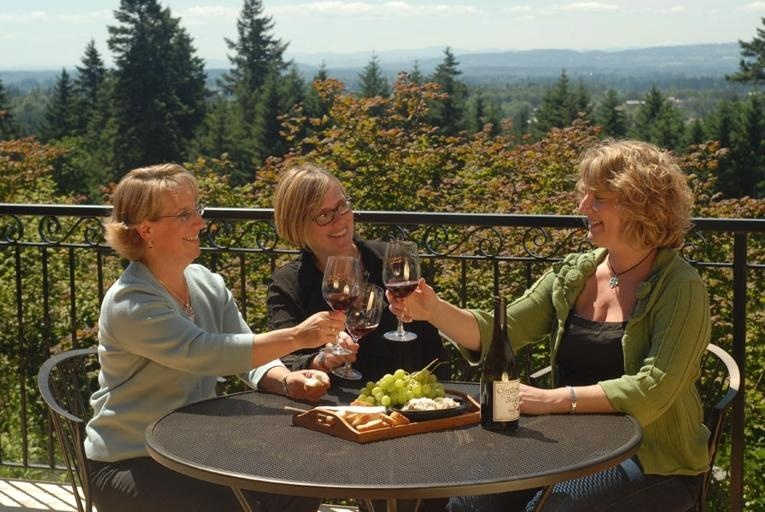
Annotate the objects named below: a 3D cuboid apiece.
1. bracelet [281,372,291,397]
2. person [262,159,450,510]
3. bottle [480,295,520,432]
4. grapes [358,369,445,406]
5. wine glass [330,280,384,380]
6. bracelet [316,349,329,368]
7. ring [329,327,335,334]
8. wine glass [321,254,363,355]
[{"bbox_3d":[-0.537,0.741,5.331,0.035,0.102,0.073,0,4,-1],"label":"bracelet"},{"bbox_3d":[-0.145,0.381,5.945,1.009,2.161,0.956,2,4,33],"label":"person"},{"bbox_3d":[0.608,0.565,4.987,0.144,0.694,0.209,0,1,-15],"label":"bottle"},{"bbox_3d":[0.101,0.723,5.191,0.472,0.241,0.198,-3,-19,-4],"label":"grapes"},{"bbox_3d":[-0.152,0.448,5.339,0.263,0.621,0.365,-5,9,-20],"label":"wine glass"},{"bbox_3d":[-0.347,0.589,5.437,0.068,0.098,0.036,-4,-6,37],"label":"bracelet"},{"bbox_3d":[-0.277,0.406,5.168,0.027,0.029,0.008,-1,-17,0],"label":"ring"},{"bbox_3d":[-0.229,0.262,5.255,0.179,0.532,0.208,3,1,-2],"label":"wine glass"}]
